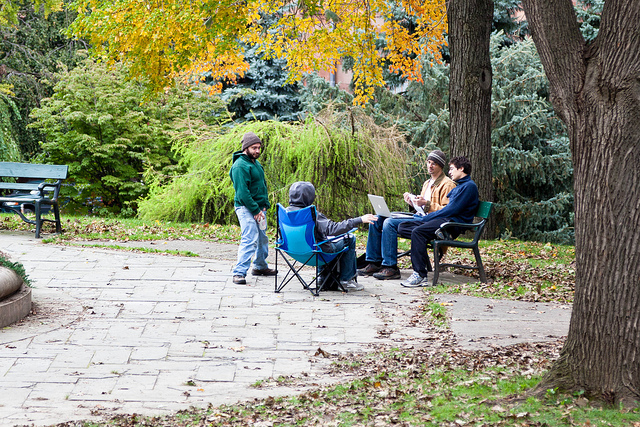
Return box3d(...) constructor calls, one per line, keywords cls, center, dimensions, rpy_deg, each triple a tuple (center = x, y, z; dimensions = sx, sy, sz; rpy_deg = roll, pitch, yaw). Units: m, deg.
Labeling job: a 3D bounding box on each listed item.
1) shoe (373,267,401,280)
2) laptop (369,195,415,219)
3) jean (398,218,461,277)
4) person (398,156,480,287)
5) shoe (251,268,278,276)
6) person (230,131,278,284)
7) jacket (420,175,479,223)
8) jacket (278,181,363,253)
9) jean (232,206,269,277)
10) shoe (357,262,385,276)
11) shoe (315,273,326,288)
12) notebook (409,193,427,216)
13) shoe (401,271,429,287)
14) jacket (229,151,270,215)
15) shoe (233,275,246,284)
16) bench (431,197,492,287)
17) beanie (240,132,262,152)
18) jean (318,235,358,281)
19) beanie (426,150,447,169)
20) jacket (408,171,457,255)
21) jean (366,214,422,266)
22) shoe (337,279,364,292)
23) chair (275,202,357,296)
box3d(cls="shoe", center=(1.077, 0.982, 11.334), dimensions=(0.446, 0.184, 0.263), rpy_deg=(1, 14, 2))
box3d(cls="laptop", center=(1.125, -0.083, 11.332), dimensions=(0.514, 0.273, 0.466), rpy_deg=(-2, 4, -26))
box3d(cls="jean", center=(1.766, 0.420, 10.977), dimensions=(0.459, 0.536, 0.467), rpy_deg=(22, -14, -34))
box3d(cls="person", center=(1.850, 0.150, 11.041), dimensions=(1.335, 1.958, 0.626), rpy_deg=(-7, 17, -26))
box3d(cls="shoe", center=(-0.903, 0.984, 11.329), dimensions=(0.372, 0.135, 0.123), rpy_deg=(-2, 5, -14))
box3d(cls="person", center=(-1.050, -0.078, 10.967), dimensions=(0.646, 2.271, 1.005), rpy_deg=(-2, 15, -6))
box3d(cls="jacket", center=(2.027, -0.184, 11.238), dimensions=(1.001, 0.741, 0.874), rpy_deg=(-4, 5, -32))
box3d(cls="jacket", center=(-0.050, 0.129, 10.722), dimensions=(1.659, 1.140, 1.008), rpy_deg=(-3, 0, 19))
box3d(cls="jean", center=(-1.132, 0.482, 10.986), dimensions=(0.435, 1.159, 0.778), rpy_deg=(5, 15, 18))
box3d(cls="shoe", center=(0.812, 0.963, 11.489), dimensions=(0.491, 0.193, 0.180), rpy_deg=(1, -1, -13))
box3d(cls="shoe", center=(0.012, 1.062, 10.659), dimensions=(0.154, 0.150, 0.162), rpy_deg=(1, -10, 4))
box3d(cls="notebook", center=(1.611, -0.121, 11.599), dimensions=(0.141, 0.366, 0.267), rpy_deg=(-36, 22, 1))
box3d(cls="shoe", center=(1.465, 1.036, 10.882), dimensions=(0.414, 0.216, 0.265), rpy_deg=(2, 14, 6))
box3d(cls="jacket", center=(-1.106, -0.478, 11.017), dimensions=(0.579, 0.940, 0.603), rpy_deg=(-2, 15, -8))
box3d(cls="shoe", center=(-1.236, 1.045, 10.744), dimensions=(0.190, 0.130, 0.109), rpy_deg=(-1, 14, -6))
box3d(cls="bench", center=(2.171, 0.470, 11.306), dimensions=(1.051, 1.232, 0.976), rpy_deg=(-2, 4, 1))
box3d(cls="beanie", center=(-1.085, -1.146, 10.994), dimensions=(0.328, 0.251, 0.232), rpy_deg=(-4, 2, 14))
box3d(cls="jean", center=(0.243, 0.683, 10.492), dimensions=(0.459, 0.696, 0.657), rpy_deg=(-12, 12, -37))
box3d(cls="beanie", center=(1.890, -0.918, 11.486), dimensions=(0.333, 0.256, 0.236), rpy_deg=(20, 2, -36))
box3d(cls="jacket", center=(2.040, -0.222, 11.836), dimensions=(0.788, 1.116, 0.849), rpy_deg=(-9, 30, 8))
box3d(cls="jean", center=(1.172, 0.455, 11.584), dimensions=(0.919, 1.036, 0.820), rpy_deg=(4, 1, -22))
box3d(cls="shoe", center=(0.469, 1.141, 10.646), dimensions=(0.409, 0.161, 0.150), rpy_deg=(0, -1, -3))
box3d(cls="chair", center=(-0.121, 0.584, 10.750), dimensions=(1.178, 1.254, 1.284), rpy_deg=(3, -2, -25))
